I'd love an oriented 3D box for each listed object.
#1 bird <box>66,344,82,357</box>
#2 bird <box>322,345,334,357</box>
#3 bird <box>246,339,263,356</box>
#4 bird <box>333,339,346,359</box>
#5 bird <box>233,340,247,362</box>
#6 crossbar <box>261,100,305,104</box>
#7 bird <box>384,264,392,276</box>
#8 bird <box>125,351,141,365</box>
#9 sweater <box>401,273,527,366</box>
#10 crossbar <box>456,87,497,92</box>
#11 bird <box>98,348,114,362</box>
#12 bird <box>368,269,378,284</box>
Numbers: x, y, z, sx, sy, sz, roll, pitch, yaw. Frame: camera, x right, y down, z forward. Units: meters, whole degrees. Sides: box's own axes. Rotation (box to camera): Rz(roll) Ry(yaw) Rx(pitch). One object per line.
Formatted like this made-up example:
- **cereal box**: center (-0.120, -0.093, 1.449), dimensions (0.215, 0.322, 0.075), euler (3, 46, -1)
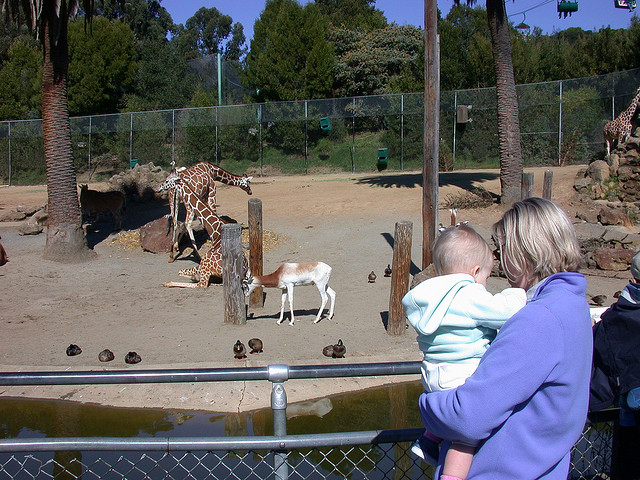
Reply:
- **bird**: center (-3.786, 1.686, 10.801), dimensions (0.230, 0.167, 0.241), euler (-8, 15, -22)
- **bird**: center (0.132, 1.644, 10.438), dimensions (0.173, 0.155, 0.210), euler (-1, 14, 1)
- **bird**: center (-0.955, 1.610, 10.557), dimensions (0.205, 0.204, 0.253), euler (-4, 14, -9)
- **bird**: center (0.296, 1.619, 10.393), dimensions (0.156, 0.252, 0.214), euler (1, 21, 1)
- **bird**: center (-1.182, 1.620, 10.399), dimensions (0.136, 0.222, 0.274), euler (-1, -12, -6)
- **crossbar**: center (-1.801, -6.629, 33.691), dimensions (2.324, 0.192, 1.112), euler (6, 17, 27)
- **bird**: center (1.458, 0.638, 14.903), dimensions (0.147, 0.259, 0.146), euler (1, -13, -4)
- **bird**: center (-2.748, 1.741, 10.313), dimensions (0.227, 0.164, 0.314), euler (-6, 15, -17)
- **sweater**: center (1.153, 0.633, 5.735), dimensions (0.903, 0.943, 0.697), euler (5, 8, 4)
- **crossbar**: center (6.957, -6.734, 31.234), dimensions (1.605, 0.189, 0.998), euler (2, 15, 15)
- **bird**: center (-3.203, 1.730, 10.506), dimensions (0.229, 0.138, 0.245), euler (-7, 15, -19)
- **bird**: center (1.103, 0.743, 14.491), dimensions (0.179, 0.265, 0.197), euler (-1, 0, -1)
